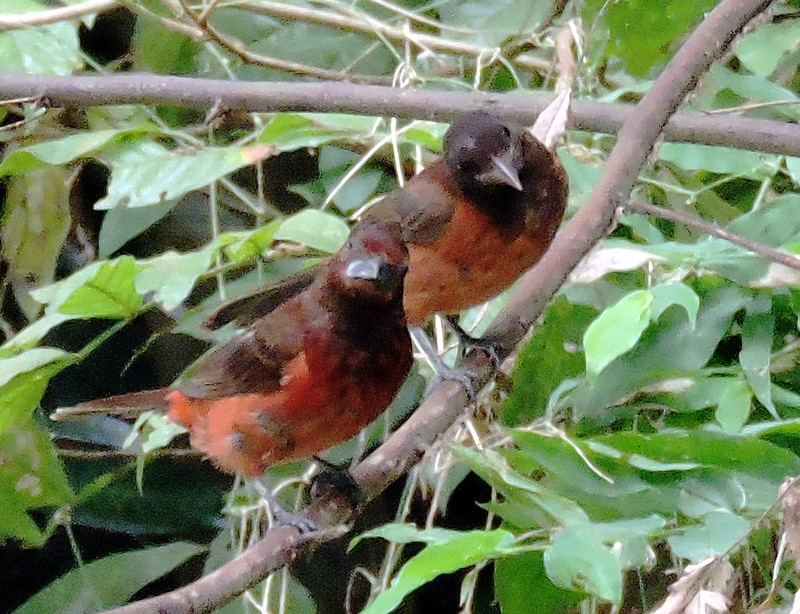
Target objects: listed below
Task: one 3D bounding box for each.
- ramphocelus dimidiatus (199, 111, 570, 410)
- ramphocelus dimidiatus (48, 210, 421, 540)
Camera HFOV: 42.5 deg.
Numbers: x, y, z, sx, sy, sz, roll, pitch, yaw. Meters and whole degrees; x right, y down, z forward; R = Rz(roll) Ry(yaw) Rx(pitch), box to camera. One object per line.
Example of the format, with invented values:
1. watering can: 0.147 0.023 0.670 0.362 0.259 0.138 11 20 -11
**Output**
1. ramphocelus dimidiatus: 0.002 -0.138 2.446 0.926 0.523 0.294 1 20 31
2. ramphocelus dimidiatus: -0.326 0.087 2.331 1.123 0.592 0.441 7 15 34
